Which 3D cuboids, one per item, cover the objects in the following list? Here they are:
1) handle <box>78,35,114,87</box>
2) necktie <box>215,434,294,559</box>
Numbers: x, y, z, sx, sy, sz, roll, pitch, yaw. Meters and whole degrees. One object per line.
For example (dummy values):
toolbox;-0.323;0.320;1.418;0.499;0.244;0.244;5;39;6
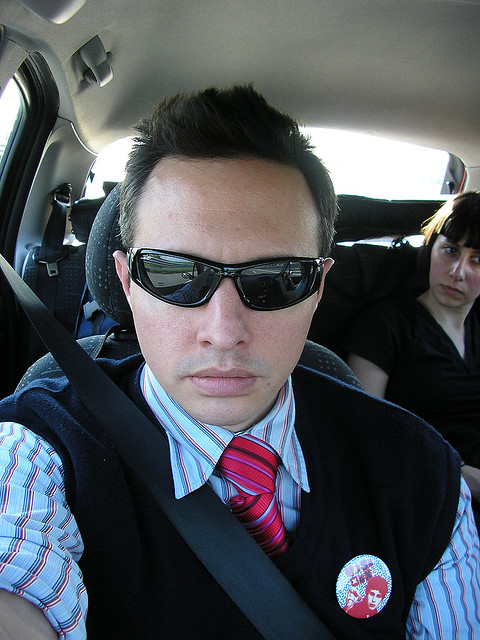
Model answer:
handle;-0.505;-0.904;1.943;0.095;0.099;0.254;7;6;-9
necktie;0.028;0.334;1.073;0.155;0.225;0.079;-4;3;1
